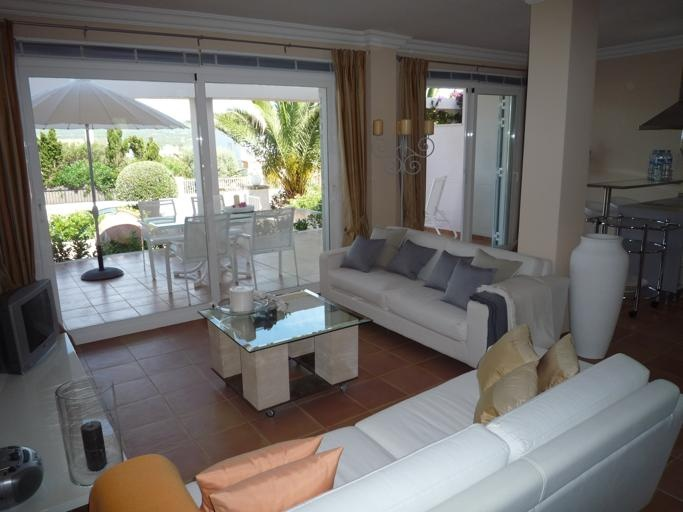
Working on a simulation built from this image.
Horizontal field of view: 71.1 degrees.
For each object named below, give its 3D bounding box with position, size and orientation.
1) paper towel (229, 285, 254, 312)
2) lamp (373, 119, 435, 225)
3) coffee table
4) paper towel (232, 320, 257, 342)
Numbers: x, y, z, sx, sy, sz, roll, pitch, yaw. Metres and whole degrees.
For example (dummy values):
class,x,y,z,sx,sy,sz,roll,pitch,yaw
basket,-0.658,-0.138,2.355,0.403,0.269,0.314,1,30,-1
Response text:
class,x,y,z,sx,sy,sz,roll,pitch,yaw
paper towel,-0.828,0.361,4.056,0.197,0.206,0.186,-3,14,-21
lamp,0.862,-1.125,6.485,0.777,1.450,1.217,-1,13,10
coffee table,-0.566,0.542,3.909,0.946,0.621,0.943,-11,20,-33
paper towel,-0.750,0.565,3.727,0.155,0.049,0.438,-7,13,-15
